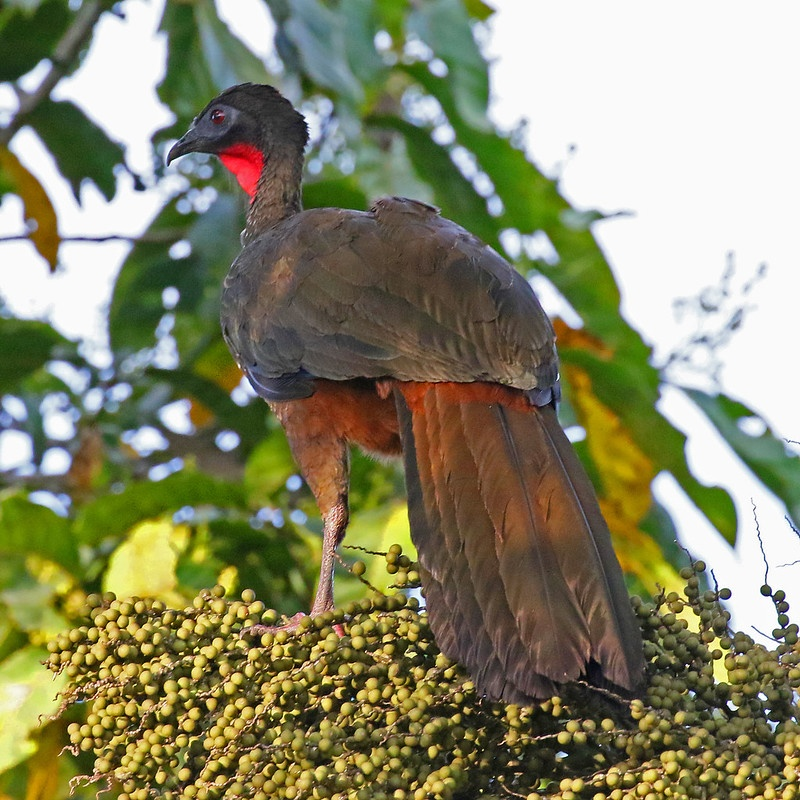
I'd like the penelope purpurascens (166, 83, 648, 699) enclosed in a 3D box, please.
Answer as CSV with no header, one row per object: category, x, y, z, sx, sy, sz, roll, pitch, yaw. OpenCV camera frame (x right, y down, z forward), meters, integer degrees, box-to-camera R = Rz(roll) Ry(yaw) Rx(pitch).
penelope purpurascens,0.037,-0.156,4.965,0.879,2.633,1.572,-7,-74,-28
